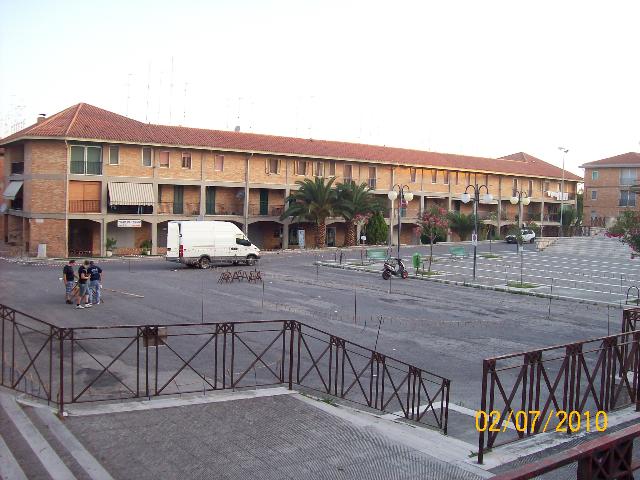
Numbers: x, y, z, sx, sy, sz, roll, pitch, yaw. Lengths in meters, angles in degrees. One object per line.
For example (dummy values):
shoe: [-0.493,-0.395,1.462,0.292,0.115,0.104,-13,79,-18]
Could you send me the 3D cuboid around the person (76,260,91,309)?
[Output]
person: [-9.229,1.735,27.509,0.505,1.786,1.158,-1,2,-18]
